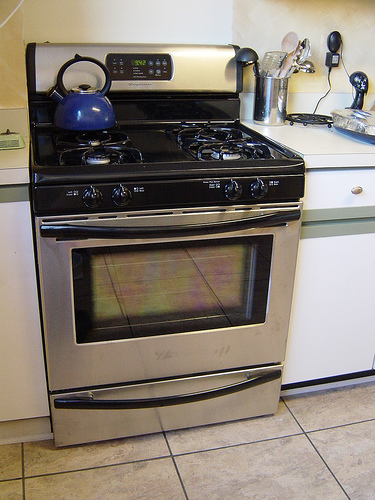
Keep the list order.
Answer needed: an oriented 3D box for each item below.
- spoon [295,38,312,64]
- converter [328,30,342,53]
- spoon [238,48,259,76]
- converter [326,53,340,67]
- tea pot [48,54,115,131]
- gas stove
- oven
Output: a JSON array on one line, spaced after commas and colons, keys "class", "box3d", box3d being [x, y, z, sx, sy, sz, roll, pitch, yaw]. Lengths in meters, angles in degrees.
[{"class": "spoon", "box3d": [0.395, -0.676, 1.464, 0.017, 0.072, 0.066, 11, 15, -20]}, {"class": "converter", "box3d": [0.564, -0.802, 1.635, 0.052, 0.061, 0.030, -40, 46, -8]}, {"class": "spoon", "box3d": [0.205, -0.637, 1.449, 0.080, 0.085, 0.065, 2, 23, 4]}, {"class": "converter", "box3d": [0.564, -0.739, 1.657, 0.045, 0.040, 0.034, 6, 55, -5]}, {"class": "tea pot", "box3d": [-0.299, -0.458, 1.230, 0.186, 0.184, 0.176, 5, 34, -3]}, {"class": "gas stove", "box3d": [-0.064, -0.269, 1.147, 0.444, 0.080, 0.397, -3, 25, -12]}, {"class": "oven", "box3d": [-0.072, 0.142, 1.520, 0.945, 0.937, 0.679, -6, 25, -13]}]
